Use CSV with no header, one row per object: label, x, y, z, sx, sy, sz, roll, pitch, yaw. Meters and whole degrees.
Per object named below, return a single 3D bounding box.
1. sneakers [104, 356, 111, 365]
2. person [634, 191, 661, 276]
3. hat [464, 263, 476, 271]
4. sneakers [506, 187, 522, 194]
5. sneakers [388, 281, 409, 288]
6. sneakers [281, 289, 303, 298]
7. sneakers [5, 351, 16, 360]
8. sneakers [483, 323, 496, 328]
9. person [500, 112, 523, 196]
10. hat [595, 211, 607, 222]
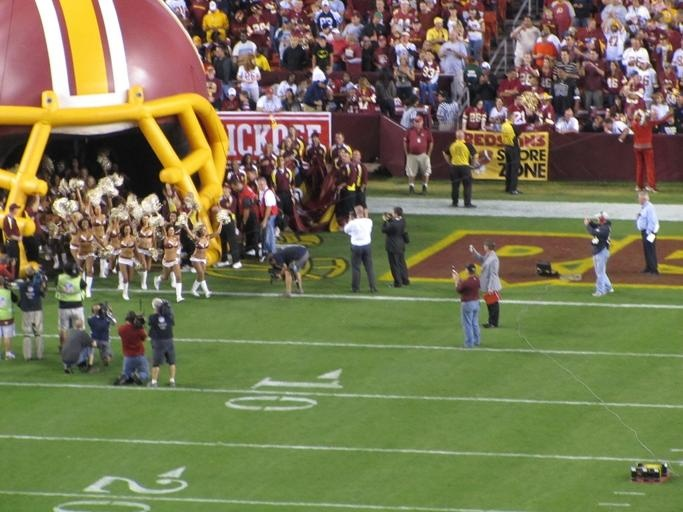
sneakers,-4.635,2.088,26.523,0.134,0.206,0.390,-4,4,-8
person,7.108,-0.516,31.082,0.444,1.964,1.548,-3,3,12
hat,2.600,0.253,26.899,0.119,0.159,0.162,1,20,1
sneakers,5.020,-1.884,39.118,0.456,0.163,0.196,2,-4,-9
sneakers,1.356,0.679,30.903,0.347,0.156,0.133,-1,15,5
sneakers,-1.112,0.887,30.290,0.492,0.218,0.172,-5,21,-1
sneakers,-6.615,2.016,26.793,0.097,0.116,0.232,6,11,18
sneakers,3.113,1.490,28.284,0.254,0.117,0.096,-2,4,18
person,4.889,-2.897,38.613,0.487,2.335,1.310,-3,3,7
hat,5.769,-0.842,29.711,0.208,0.224,0.471,-3,4,7
